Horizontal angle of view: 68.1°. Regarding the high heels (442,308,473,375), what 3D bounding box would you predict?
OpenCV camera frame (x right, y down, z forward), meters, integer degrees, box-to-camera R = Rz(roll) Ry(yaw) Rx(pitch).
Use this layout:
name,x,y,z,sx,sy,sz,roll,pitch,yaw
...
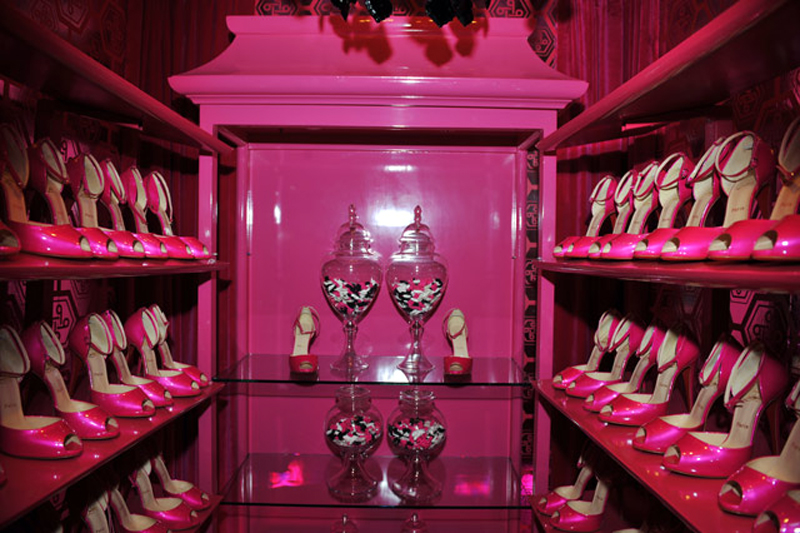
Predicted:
name,x,y,z,sx,sy,sz,roll,pitch,yaw
high heels,0.248,0.338,2.600,0.082,0.328,0.089,-2,-40,3

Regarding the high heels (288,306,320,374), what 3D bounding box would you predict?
name,x,y,z,sx,sy,sz,roll,pitch,yaw
high heels,-0.421,0.338,2.597,0.082,0.067,0.376,5,42,-7
